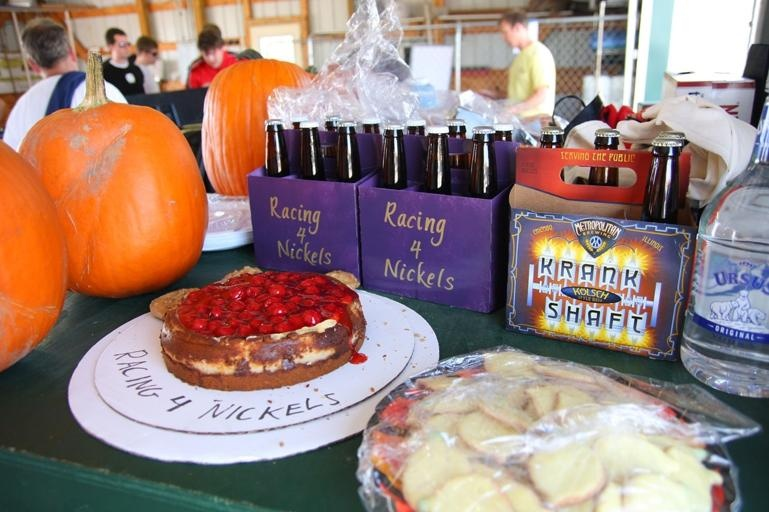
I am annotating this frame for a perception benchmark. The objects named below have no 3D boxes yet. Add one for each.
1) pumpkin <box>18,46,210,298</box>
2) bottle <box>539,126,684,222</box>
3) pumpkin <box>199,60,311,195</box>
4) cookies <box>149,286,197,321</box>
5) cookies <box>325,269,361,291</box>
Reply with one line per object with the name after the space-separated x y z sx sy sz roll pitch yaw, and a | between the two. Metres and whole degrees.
-0.577 -0.213 1.520 0.529 0.706 0.511 0 11 -9 | pumpkin
0.455 -0.178 1.166 0.142 0.175 0.300 -12 25 -24 | bottle
-0.398 -0.432 1.939 0.395 0.485 0.399 8 19 7 | pumpkin
-0.468 0.101 1.301 0.088 0.021 0.087 -22 22 -35 | cookies
-0.101 0.063 1.367 0.055 0.016 0.050 19 6 -43 | cookies
